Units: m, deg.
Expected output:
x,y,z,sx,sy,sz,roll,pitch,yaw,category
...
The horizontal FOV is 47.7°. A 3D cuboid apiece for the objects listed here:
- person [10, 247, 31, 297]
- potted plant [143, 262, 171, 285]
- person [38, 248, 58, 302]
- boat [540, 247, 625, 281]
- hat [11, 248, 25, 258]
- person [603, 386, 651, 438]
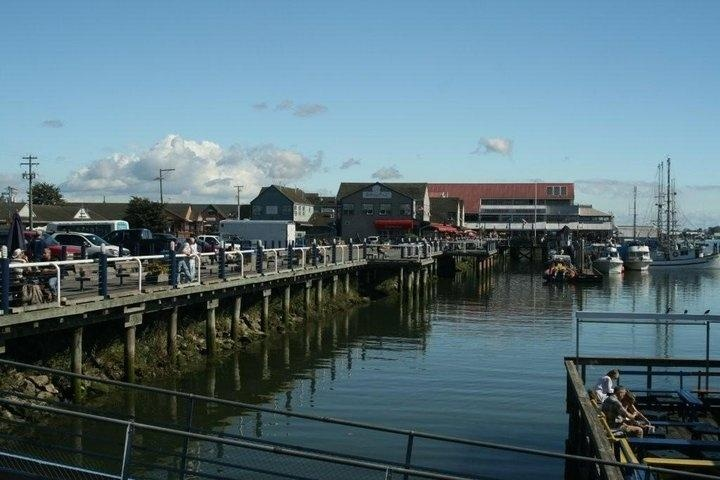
x,y,z,sx,sy,sz,roll,pitch,yaw,category
-9.605,0.934,23.045,0.517,1.544,0.851,-7,26,-33,person
-7.537,1.179,30.191,0.948,0.332,0.899,1,4,-5,potted plant
-9.234,0.933,24.198,0.407,1.011,4.111,0,7,-22,person
17.576,2.355,65.719,4.425,2.119,5.761,-1,-2,9,boat
-10.594,0.396,25.284,0.312,0.296,0.319,2,9,0,hat
6.722,4.388,20.630,0.877,1.185,0.540,-15,30,4,person
